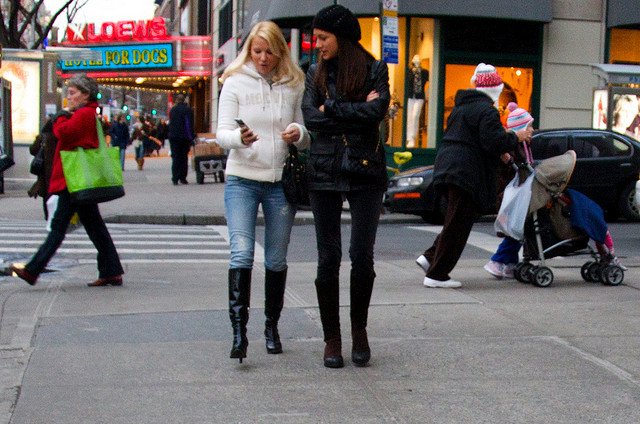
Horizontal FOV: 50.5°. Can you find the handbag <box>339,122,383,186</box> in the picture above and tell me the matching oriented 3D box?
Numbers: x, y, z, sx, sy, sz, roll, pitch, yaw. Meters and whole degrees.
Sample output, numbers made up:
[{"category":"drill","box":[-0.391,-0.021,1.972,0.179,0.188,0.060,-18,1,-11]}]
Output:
[{"category":"handbag","box":[0.336,-0.588,5.331,0.378,0.725,0.085,8,-28,-14]}]

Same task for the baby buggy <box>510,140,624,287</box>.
[{"category":"baby buggy","box":[2.859,-0.068,7.957,1.194,1.764,0.943,-4,8,0]}]

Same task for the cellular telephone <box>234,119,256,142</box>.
[{"category":"cellular telephone","box":[-0.584,-0.639,5.283,0.149,0.184,0.185,-2,13,-9]}]

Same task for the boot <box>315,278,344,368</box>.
[{"category":"boot","box":[0.076,0.863,5.327,0.216,0.670,0.240,0,12,-2]}]

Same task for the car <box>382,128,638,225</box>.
[{"category":"car","box":[3.744,-0.843,13.328,4.765,1.695,2.203,0,1,-6]}]

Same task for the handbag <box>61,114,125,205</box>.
[{"category":"handbag","box":[-2.536,-0.555,7.534,0.616,0.904,0.433,-6,14,-25]}]

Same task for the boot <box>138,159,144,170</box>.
[{"category":"boot","box":[-7.215,-1.932,27.166,0.145,0.391,0.247,-5,14,-24]}]

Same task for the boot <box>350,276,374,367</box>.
[{"category":"boot","box":[0.325,0.854,5.350,0.178,0.687,0.230,1,12,4]}]

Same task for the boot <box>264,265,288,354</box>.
[{"category":"boot","box":[-0.370,0.806,5.596,0.180,0.695,0.182,-1,12,-7]}]

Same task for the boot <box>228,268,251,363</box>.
[{"category":"boot","box":[-0.628,0.828,5.300,0.175,0.757,0.347,-1,12,-6]}]

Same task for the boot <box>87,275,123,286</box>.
[{"category":"boot","box":[-2.431,0.796,7.751,0.405,0.182,0.140,3,0,-9]}]

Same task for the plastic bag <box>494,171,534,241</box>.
[{"category":"plastic bag","box":[2.221,-0.081,7.769,0.354,0.768,0.292,10,15,37]}]

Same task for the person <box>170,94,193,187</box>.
[{"category":"person","box":[-4.025,-2.152,19.867,0.722,2.646,0.788,-4,-8,37]}]

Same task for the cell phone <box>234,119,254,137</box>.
[{"category":"cell phone","box":[-0.602,-0.669,5.299,0.125,0.133,0.229,-2,13,-11]}]
